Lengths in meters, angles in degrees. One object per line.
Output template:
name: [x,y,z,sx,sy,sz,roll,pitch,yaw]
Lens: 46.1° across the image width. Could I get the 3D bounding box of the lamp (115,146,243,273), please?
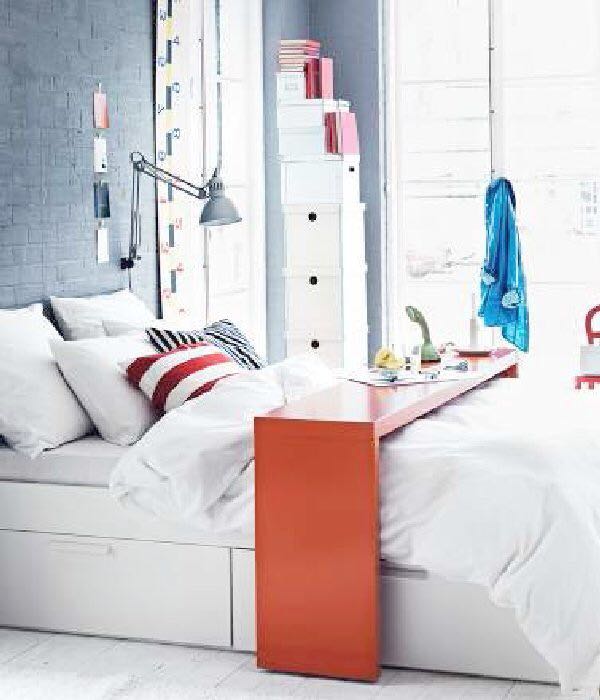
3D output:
lamp: [-0.587,-0.635,3.231,0.493,0.525,0.951,-3,8,-16]
